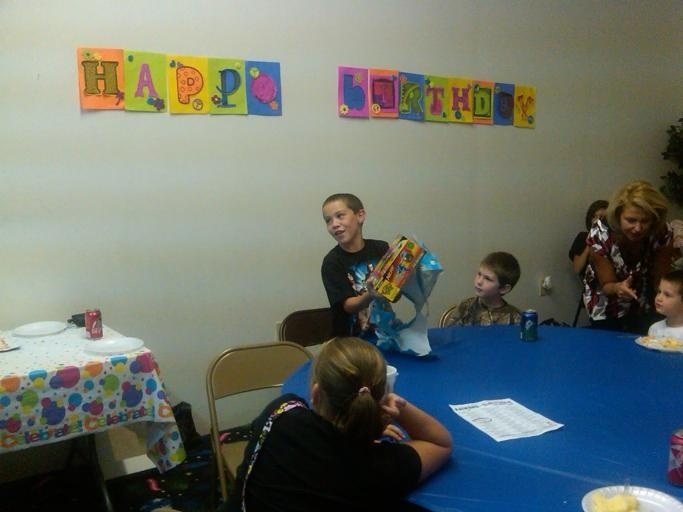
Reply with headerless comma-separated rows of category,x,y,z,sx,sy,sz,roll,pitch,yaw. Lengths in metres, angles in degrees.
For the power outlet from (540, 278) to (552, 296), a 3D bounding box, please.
power outlet,1.728,0.262,4.020,0.123,0.142,0.032,9,-1,-31
